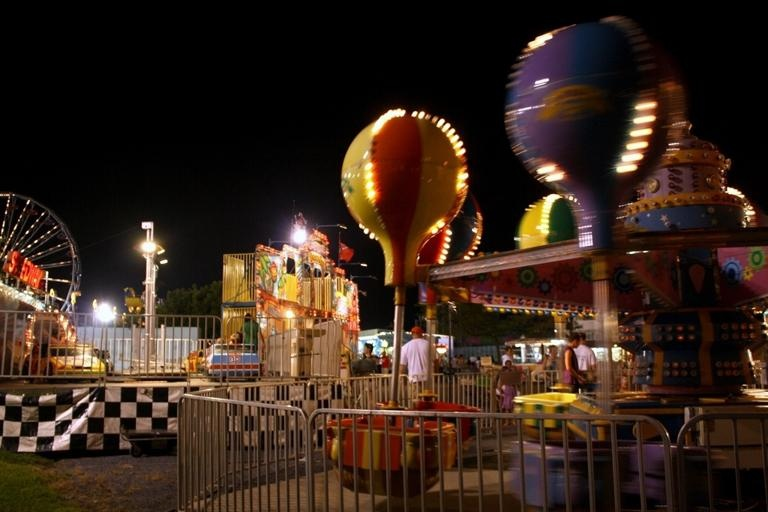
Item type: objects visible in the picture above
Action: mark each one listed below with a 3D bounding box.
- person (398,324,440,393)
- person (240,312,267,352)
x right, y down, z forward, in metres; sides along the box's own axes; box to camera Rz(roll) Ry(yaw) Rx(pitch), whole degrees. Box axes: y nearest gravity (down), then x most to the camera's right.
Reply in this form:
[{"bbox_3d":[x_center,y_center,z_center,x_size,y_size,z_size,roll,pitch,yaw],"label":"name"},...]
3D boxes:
[{"bbox_3d":[0.611,2.079,13.109,0.664,1.697,0.559,2,24,3],"label":"person"},{"bbox_3d":[-3.027,1.750,15.992,0.530,1.114,2.141,2,-15,-10],"label":"person"}]
